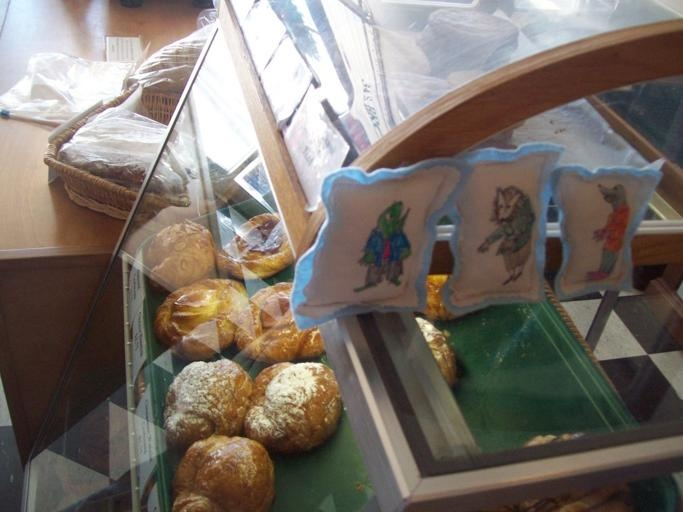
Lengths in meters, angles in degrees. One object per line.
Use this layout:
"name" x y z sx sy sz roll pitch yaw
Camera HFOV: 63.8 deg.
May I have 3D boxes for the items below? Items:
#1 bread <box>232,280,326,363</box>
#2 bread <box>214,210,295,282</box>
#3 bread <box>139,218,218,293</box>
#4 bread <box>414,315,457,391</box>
"bread" -0.106 0.128 1.010 0.130 0.045 0.143 -1 63 -10
"bread" -0.167 -0.008 1.064 0.125 0.044 0.135 15 55 15
"bread" -0.313 0.013 1.072 0.135 0.042 0.135 -30 64 -1
"bread" 0.162 0.161 0.901 0.029 0.097 0.072 -25 19 14
